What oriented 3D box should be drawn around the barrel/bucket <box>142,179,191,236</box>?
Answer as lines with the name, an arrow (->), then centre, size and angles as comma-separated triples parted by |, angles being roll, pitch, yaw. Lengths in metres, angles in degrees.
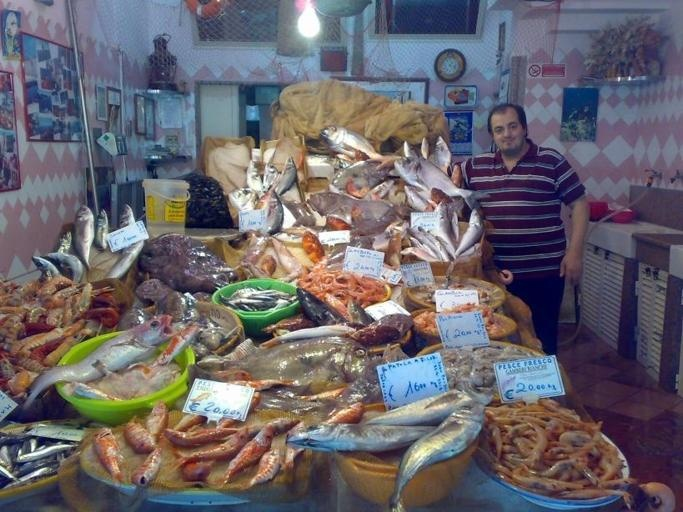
barrel/bucket -> -0.875, -0.270, 2.482 | 0.264, 0.292, 0.285 | 1, 10, 0

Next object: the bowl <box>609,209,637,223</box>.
bowl -> 2.487, -0.355, 4.257 | 0.126, 0.111, 0.272 | -3, -1, 3

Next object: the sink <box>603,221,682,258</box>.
sink -> 2.520, -0.147, 4.183 | 0.341, 0.281, 0.934 | -2, 11, -2
